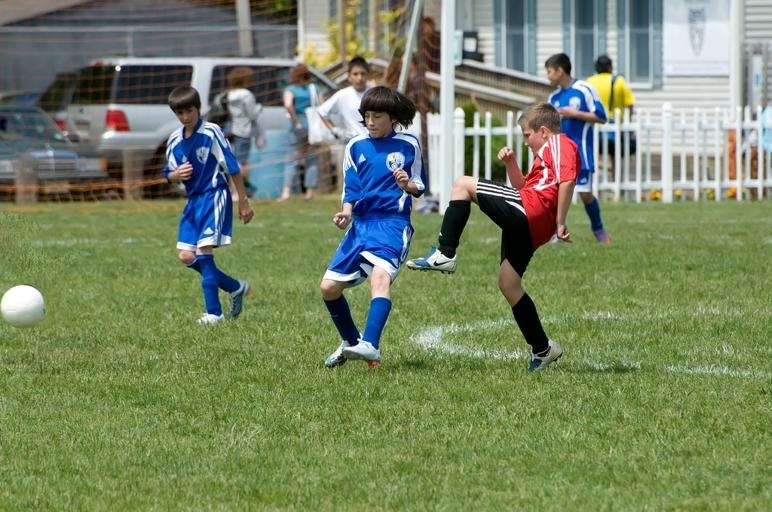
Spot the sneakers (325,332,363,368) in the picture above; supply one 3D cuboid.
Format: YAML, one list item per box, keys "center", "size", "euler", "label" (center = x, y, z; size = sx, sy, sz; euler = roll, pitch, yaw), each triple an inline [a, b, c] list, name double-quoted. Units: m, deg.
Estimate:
- center: [-0.350, 0.705, 9.987]
  size: [0.092, 0.124, 0.278]
  euler: [11, 37, 42]
  label: "sneakers"

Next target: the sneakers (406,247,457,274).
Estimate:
- center: [0.339, 0.034, 9.768]
  size: [0.456, 0.227, 0.148]
  euler: [4, 0, -4]
  label: "sneakers"

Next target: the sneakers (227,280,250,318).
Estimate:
- center: [-1.215, 0.356, 11.059]
  size: [0.166, 0.334, 0.115]
  euler: [6, 17, -13]
  label: "sneakers"

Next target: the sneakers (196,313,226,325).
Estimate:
- center: [-1.428, 0.508, 10.873]
  size: [0.239, 0.098, 0.079]
  euler: [2, 0, -15]
  label: "sneakers"

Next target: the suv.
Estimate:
- center: [-2.755, -1.819, 18.703]
  size: [3.358, 1.420, 1.804]
  euler: [-8, 12, -34]
  label: "suv"

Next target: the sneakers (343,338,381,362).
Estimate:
- center: [-0.183, 0.692, 9.670]
  size: [0.268, 0.190, 0.272]
  euler: [-1, 7, 0]
  label: "sneakers"

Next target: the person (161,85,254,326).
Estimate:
- center: [-1.485, -0.436, 11.031]
  size: [0.714, 1.878, 0.587]
  euler: [0, 7, 7]
  label: "person"

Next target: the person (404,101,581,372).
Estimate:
- center: [0.807, -0.232, 9.811]
  size: [1.316, 1.940, 0.714]
  euler: [10, -18, -8]
  label: "person"
